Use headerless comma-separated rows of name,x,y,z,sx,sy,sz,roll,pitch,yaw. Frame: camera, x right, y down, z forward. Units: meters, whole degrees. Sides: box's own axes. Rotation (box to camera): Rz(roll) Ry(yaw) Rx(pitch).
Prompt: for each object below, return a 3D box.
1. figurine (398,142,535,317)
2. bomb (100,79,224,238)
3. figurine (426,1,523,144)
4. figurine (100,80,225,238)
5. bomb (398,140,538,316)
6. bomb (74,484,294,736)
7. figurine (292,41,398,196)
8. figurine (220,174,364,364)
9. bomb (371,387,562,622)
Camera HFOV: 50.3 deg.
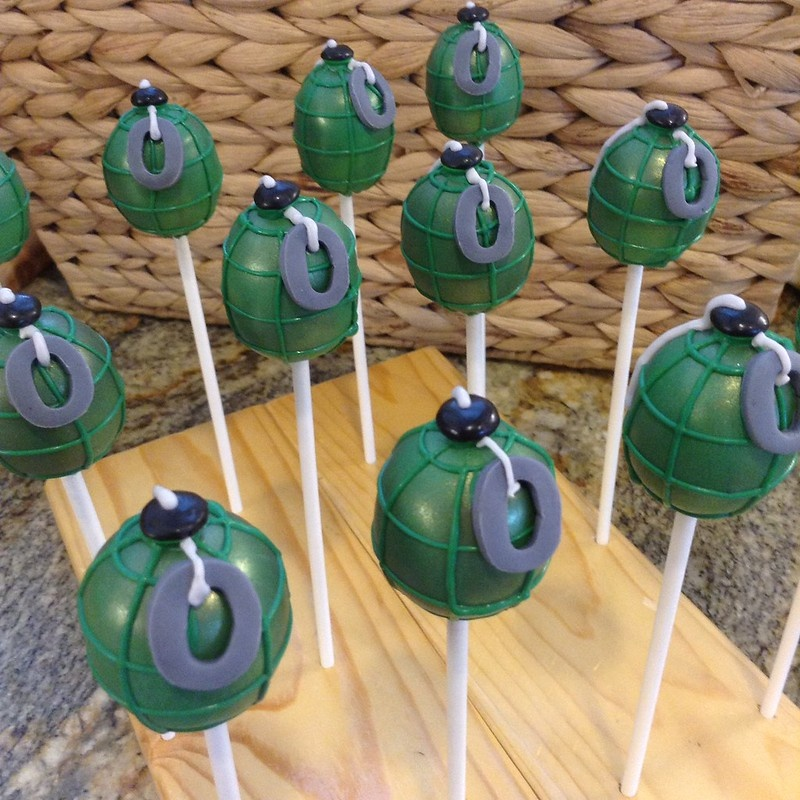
figurine,0.055,-0.123,0.636,0.110,0.124,0.107,-12,39,1
bomb,-0.190,-0.192,0.688,0.081,0.112,0.076,23,39,31
figurine,0.065,-0.282,0.749,0.085,0.115,0.058,1,33,1
figurine,-0.198,-0.196,0.695,0.099,0.119,0.097,-2,38,-7
bomb,0.050,-0.116,0.618,0.094,0.108,0.073,0,33,0
bomb,-0.089,0.097,0.450,0.118,0.116,0.117,-11,33,-20
figurine,-0.046,-0.240,0.742,0.097,0.129,0.100,-17,40,-20
figurine,-0.062,-0.096,0.594,0.111,0.122,0.113,-3,37,-10
bomb,0.040,0.058,0.457,0.107,0.123,0.107,-8,30,-6
